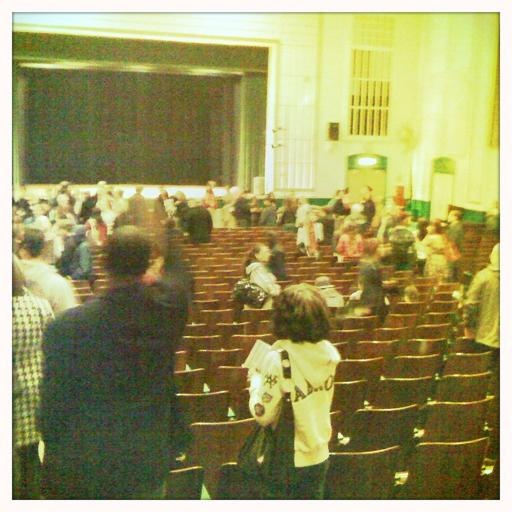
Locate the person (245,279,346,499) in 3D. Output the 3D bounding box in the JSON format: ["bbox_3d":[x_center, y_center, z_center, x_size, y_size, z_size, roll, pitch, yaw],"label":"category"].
[{"bbox_3d":[0.225,1.105,3.830,0.640,1.774,0.838,2,8,0],"label":"person"}]

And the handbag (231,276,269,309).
[{"bbox_3d":[-0.071,0.386,5.295,0.252,0.095,0.265,18,37,16],"label":"handbag"}]

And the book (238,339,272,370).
[{"bbox_3d":[-0.016,0.858,4.571,0.170,0.193,0.243,22,55,14],"label":"book"}]
